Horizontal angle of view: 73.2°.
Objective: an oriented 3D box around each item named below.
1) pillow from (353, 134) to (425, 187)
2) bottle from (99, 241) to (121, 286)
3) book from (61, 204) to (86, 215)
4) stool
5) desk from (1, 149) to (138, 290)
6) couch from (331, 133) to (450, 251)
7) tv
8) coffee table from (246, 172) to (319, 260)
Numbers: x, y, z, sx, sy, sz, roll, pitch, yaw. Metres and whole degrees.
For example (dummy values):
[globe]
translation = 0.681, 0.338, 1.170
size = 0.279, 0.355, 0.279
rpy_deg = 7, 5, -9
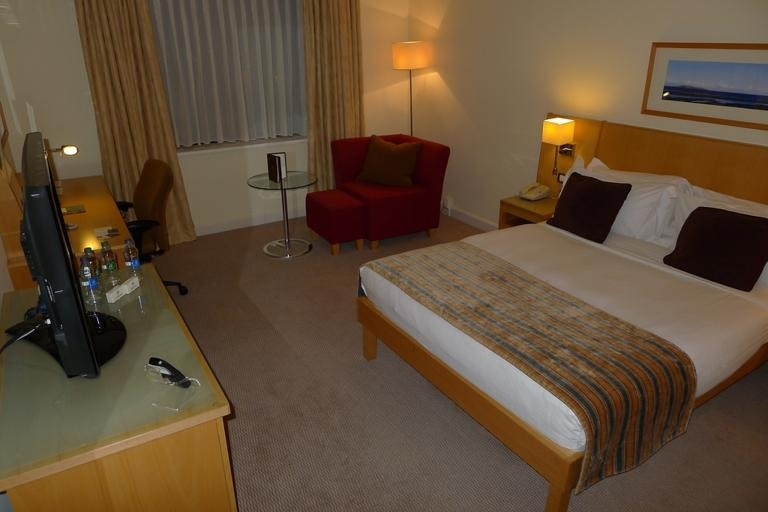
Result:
[pillow]
translation = 0.090, -1.095, 6.154
size = 0.619, 0.624, 0.197
rpy_deg = 10, -2, 18
[bottle]
translation = -1.856, 0.046, 3.473
size = 0.131, 0.283, 0.132
rpy_deg = -2, 13, 1
[book]
translation = -2.775, -0.416, 4.616
size = 0.120, 0.033, 0.134
rpy_deg = -1, 18, -12
[stool]
translation = -0.561, -0.421, 6.028
size = 0.425, 0.560, 0.689
rpy_deg = -14, 31, -32
[desk]
translation = -2.319, -0.265, 3.772
size = 0.580, 0.354, 1.472
rpy_deg = -3, 42, -27
[couch]
translation = 0.053, -0.838, 6.553
size = 1.242, 1.437, 1.324
rpy_deg = -10, 26, -28
[tv]
translation = -2.114, -0.009, 3.393
size = 0.756, 1.292, 1.423
rpy_deg = -8, 32, -28
[coffee table]
translation = -1.136, -0.503, 6.121
size = 0.938, 1.094, 0.957
rpy_deg = -1, 28, -4
